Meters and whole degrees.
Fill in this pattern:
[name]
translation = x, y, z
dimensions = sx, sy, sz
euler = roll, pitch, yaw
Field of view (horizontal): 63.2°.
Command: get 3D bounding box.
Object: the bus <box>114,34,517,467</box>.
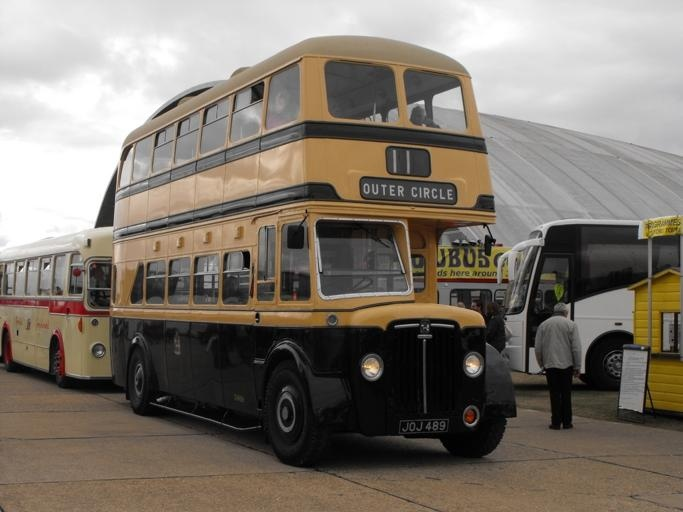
[bus]
translation = -0.633, 0.187, 8.325
dimensions = 2.694, 5.006, 7.053
euler = 1, -1, -29

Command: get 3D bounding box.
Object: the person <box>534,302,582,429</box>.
[person]
translation = 4.105, 2.109, 10.627
dimensions = 0.806, 2.079, 0.877
euler = 5, 3, 23

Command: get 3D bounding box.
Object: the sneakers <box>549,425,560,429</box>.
[sneakers]
translation = 3.948, 3.169, 10.356
dimensions = 0.071, 0.091, 0.202
euler = 2, -6, -28
